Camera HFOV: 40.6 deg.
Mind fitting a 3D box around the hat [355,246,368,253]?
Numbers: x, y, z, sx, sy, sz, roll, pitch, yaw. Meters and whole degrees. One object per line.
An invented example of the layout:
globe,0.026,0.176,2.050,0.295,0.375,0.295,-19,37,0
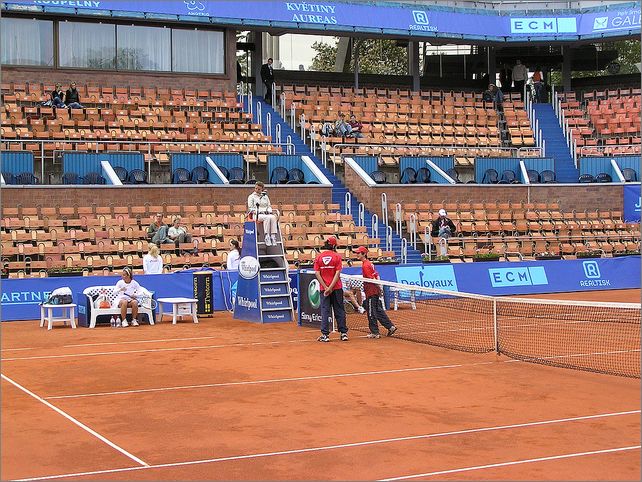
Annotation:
hat,0.969,0.200,20.646,0.255,0.135,0.171,5,-5,-12

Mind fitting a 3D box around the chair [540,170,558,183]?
chair,9.419,-2.682,35.994,0.559,0.766,0.558,-3,2,-5

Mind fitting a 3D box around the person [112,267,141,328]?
person,-4.982,1.465,22.469,0.700,1.600,0.659,-6,12,-37

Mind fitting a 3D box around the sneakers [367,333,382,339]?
sneakers,1.277,2.299,20.840,0.322,0.163,0.116,3,0,1

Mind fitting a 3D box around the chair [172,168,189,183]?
chair,-5.015,-2.295,31.182,0.613,0.711,0.549,-2,13,-23

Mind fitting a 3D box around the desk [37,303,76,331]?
desk,-6.840,1.924,22.513,0.899,0.780,1.286,-2,11,-20

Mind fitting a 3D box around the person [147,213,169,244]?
person,-5.024,-0.320,27.047,0.572,1.230,0.850,10,-27,-30

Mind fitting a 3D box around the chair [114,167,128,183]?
chair,-7.017,-2.325,30.606,0.485,0.640,0.549,0,1,-29

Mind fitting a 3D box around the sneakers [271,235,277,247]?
sneakers,-1.300,-0.022,23.908,0.111,0.112,0.282,-1,39,-10

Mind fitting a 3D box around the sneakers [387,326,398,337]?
sneakers,1.704,2.189,20.834,0.119,0.154,0.351,-37,-2,-16

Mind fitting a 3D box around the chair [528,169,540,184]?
chair,8.750,-2.674,35.687,0.529,0.480,1.170,4,11,13

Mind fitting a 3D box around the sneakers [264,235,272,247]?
sneakers,-1.465,-0.001,23.769,0.103,0.360,0.134,-9,7,-40

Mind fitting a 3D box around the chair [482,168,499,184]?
chair,6.940,-2.629,35.312,0.635,0.901,0.674,-1,4,-1

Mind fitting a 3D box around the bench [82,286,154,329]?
bench,-5.244,1.722,22.804,1.707,1.124,0.962,3,-8,-17

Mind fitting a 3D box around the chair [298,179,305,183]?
chair,-0.722,-2.242,32.714,0.155,0.166,0.152,2,5,13

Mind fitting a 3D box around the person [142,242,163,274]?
person,-4.798,0.518,24.656,0.510,0.878,0.843,-1,10,-13

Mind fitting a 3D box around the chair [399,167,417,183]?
chair,3.467,-2.557,34.147,0.725,0.790,0.649,1,5,-2

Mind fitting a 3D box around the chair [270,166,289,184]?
chair,-1.594,-2.473,32.705,0.660,0.899,0.652,0,1,-7

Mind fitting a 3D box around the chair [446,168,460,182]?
chair,5.404,-2.623,34.991,0.498,0.732,0.584,-6,9,-12

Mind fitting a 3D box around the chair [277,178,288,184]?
chair,-1.457,-2.231,32.394,0.367,0.160,0.163,1,1,-1

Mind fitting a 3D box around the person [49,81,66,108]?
person,-10.210,-5.634,33.560,0.512,0.869,1.038,-2,11,-18

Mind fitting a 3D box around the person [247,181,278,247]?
person,-1.531,-0.721,23.617,0.863,1.848,0.678,-5,12,-33

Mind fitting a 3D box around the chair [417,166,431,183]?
chair,4.096,-2.623,34.329,0.453,0.619,0.619,0,-10,0

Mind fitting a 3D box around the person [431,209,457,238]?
person,4.260,-0.579,30.158,0.806,0.957,1.363,3,10,10

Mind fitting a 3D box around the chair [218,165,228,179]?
chair,-3.580,-2.560,32.048,0.343,0.427,0.453,1,-6,-13

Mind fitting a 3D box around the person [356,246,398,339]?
person,1.239,1.250,20.892,1.051,2.146,0.626,-3,-6,13

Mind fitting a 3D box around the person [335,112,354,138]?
person,0.863,-4.801,36.577,0.704,1.143,1.016,1,-8,-9

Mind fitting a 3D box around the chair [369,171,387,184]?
chair,2.207,-2.462,33.660,0.483,0.598,0.615,5,18,-2

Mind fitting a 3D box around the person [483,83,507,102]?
person,8.583,-7.376,43.122,0.793,1.139,1.050,3,11,28

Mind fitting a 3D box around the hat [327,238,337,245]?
hat,0.251,-0.019,20.472,0.143,0.189,0.184,7,-24,-15

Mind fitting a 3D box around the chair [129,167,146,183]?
chair,-6.403,-2.268,30.574,0.520,0.619,0.544,0,-3,-32

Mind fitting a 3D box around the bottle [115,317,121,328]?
bottle,-5.256,2.143,22.478,0.151,0.231,0.088,0,0,0

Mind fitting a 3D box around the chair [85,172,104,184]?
chair,-7.863,-2.160,30.030,0.459,0.649,0.456,0,-3,-22

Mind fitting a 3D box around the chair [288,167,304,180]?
chair,-0.959,-2.556,33.030,0.454,0.620,0.479,0,-4,-17

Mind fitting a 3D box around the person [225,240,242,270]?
person,-2.560,0.399,25.309,0.364,0.877,0.759,0,10,-6

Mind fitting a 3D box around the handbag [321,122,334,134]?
handbag,0.267,-4.728,36.397,0.393,0.176,0.571,3,39,1

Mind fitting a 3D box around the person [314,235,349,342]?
person,0.260,1.128,20.549,0.794,2.498,0.623,-3,9,-10

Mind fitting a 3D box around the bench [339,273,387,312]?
bench,0.916,1.400,23.266,1.253,1.334,0.822,-3,-1,31

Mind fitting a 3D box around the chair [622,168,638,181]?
chair,12.774,-2.757,35.881,0.510,0.683,0.566,-1,2,2

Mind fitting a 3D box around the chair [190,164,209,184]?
chair,-4.363,-2.416,31.535,0.692,0.719,0.606,1,-5,-26

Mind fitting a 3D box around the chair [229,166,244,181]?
chair,-3.117,-2.492,32.173,0.426,0.559,0.507,5,-3,-15
